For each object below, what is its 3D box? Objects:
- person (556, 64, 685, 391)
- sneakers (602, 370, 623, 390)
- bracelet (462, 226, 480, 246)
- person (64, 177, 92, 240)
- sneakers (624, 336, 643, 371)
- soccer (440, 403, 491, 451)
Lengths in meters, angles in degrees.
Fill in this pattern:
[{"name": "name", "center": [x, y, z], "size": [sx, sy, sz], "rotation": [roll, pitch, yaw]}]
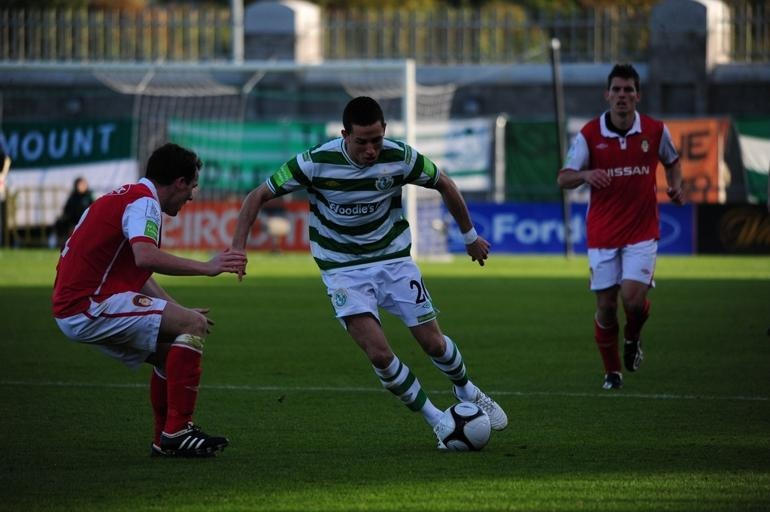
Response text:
[{"name": "person", "center": [2.490, -0.380, 13.491], "size": [1.220, 3.344, 0.752], "rotation": [0, 9, 5]}, {"name": "sneakers", "center": [2.398, 1.331, 13.390], "size": [0.180, 0.147, 0.356], "rotation": [1, 2, 10]}, {"name": "bracelet", "center": [0.816, -0.207, 12.299], "size": [0.150, 0.150, 0.148], "rotation": [21, 53, 41]}, {"name": "person", "center": [-6.531, -0.831, 26.762], "size": [0.555, 1.793, 0.522], "rotation": [5, 32, -17]}, {"name": "sneakers", "center": [2.677, 1.093, 13.712], "size": [0.145, 0.425, 0.180], "rotation": [1, 17, 17]}, {"name": "soccer", "center": [0.729, 1.606, 11.730], "size": [0.433, 0.388, 0.347], "rotation": [0, -23, -11]}]
